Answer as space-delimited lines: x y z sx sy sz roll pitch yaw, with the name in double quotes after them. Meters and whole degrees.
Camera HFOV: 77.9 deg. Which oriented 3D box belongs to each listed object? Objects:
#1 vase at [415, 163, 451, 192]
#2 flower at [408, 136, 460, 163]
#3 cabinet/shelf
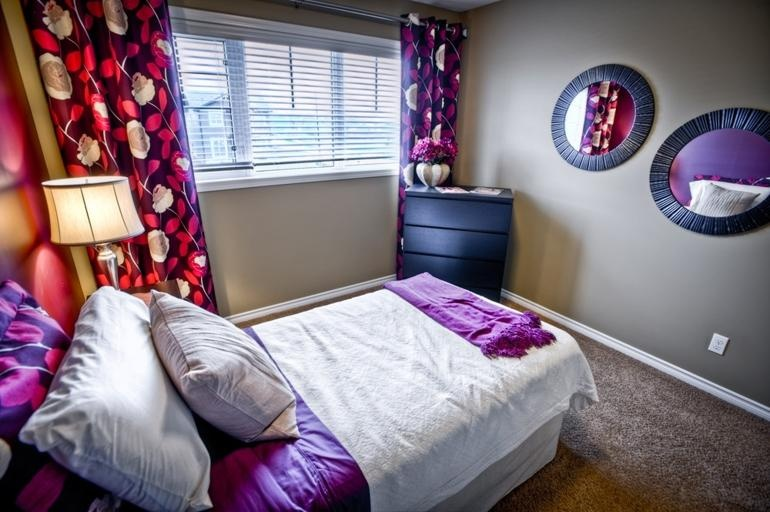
0.408 -0.738 4.403 0.238 0.176 0.239 10 20 37 "vase"
0.423 -0.939 4.247 0.244 0.204 0.294 -10 28 -17 "flower"
0.588 -0.126 4.108 0.799 0.858 0.405 9 22 21 "cabinet/shelf"
